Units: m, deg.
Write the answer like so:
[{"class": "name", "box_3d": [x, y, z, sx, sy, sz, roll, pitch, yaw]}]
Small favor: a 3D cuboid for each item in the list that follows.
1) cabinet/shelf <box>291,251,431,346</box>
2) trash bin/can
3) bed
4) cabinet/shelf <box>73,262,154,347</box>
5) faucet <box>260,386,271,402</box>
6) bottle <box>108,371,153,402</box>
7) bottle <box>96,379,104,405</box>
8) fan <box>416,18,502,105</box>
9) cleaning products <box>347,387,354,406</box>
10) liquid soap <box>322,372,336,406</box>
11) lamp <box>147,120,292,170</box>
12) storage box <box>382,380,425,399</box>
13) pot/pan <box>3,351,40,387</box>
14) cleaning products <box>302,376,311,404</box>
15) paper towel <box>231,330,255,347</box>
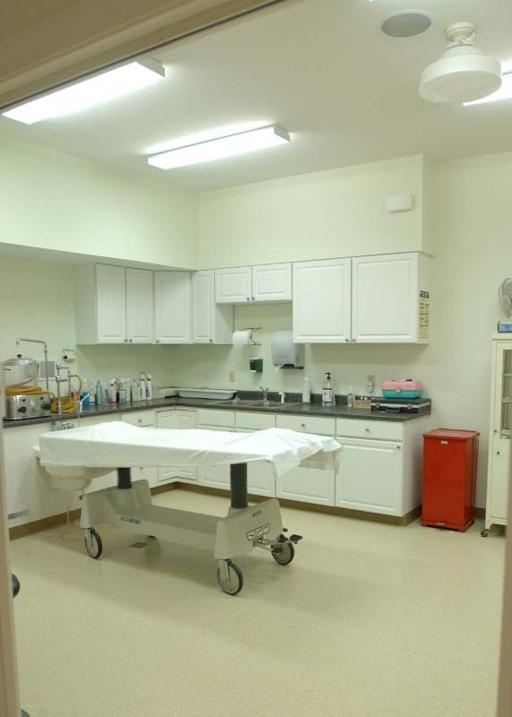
[{"class": "cabinet/shelf", "box_3d": [0.893, -0.493, 4.541, 0.824, 0.525, 0.293, 1, 1, 36]}, {"class": "trash bin/can", "box_3d": [1.472, 0.902, 4.239, 0.337, 0.538, 0.412, -1, 0, 32]}, {"class": "bed", "box_3d": [-0.446, 0.853, 3.386, 1.786, 0.882, 0.789, -1, 0, 31]}, {"class": "cabinet/shelf", "box_3d": [-1.320, -0.497, 5.055, 0.293, 0.669, 0.765, -1, 0, 29]}, {"class": "faucet", "box_3d": [0.086, 0.346, 5.352, 0.087, 0.123, 0.246, -1, 0, 0]}, {"class": "bottle", "box_3d": [-1.230, 0.306, 5.423, 0.162, 0.289, 0.459, 0, -2, 41]}, {"class": "bottle", "box_3d": [-1.431, 0.317, 5.142, 0.065, 0.207, 0.235, -1, 0, -13]}, {"class": "fan", "box_3d": [0.884, -1.284, 2.441, 0.327, 0.222, 0.372, -1, 0, 20]}, {"class": "cleaning products", "box_3d": [0.819, 0.330, 4.841, 0.063, 0.137, 0.157, -1, 0, 8]}, {"class": "liquid soap", "box_3d": [0.638, 0.268, 4.948, 0.113, 0.243, 0.217, -1, 0, 7]}, {"class": "lamp", "box_3d": [-0.296, -1.490, 3.993, 1.223, 0.127, 0.326, -1, 0, 37]}, {"class": "storage box", "box_3d": [1.188, 0.218, 4.483, 0.215, 0.144, 0.174, -2, -2, 36]}, {"class": "pot/pan", "box_3d": [-1.722, 0.084, 4.082, 0.290, 0.271, 0.264, 0, 0, -6]}, {"class": "cleaning products", "box_3d": [0.459, 0.286, 5.094, 0.076, 0.207, 0.137, -1, 0, 10]}, {"class": "paper towel", "box_3d": [-0.115, -0.202, 5.415, 0.219, 0.144, 0.148, -1, 0, -2]}]
